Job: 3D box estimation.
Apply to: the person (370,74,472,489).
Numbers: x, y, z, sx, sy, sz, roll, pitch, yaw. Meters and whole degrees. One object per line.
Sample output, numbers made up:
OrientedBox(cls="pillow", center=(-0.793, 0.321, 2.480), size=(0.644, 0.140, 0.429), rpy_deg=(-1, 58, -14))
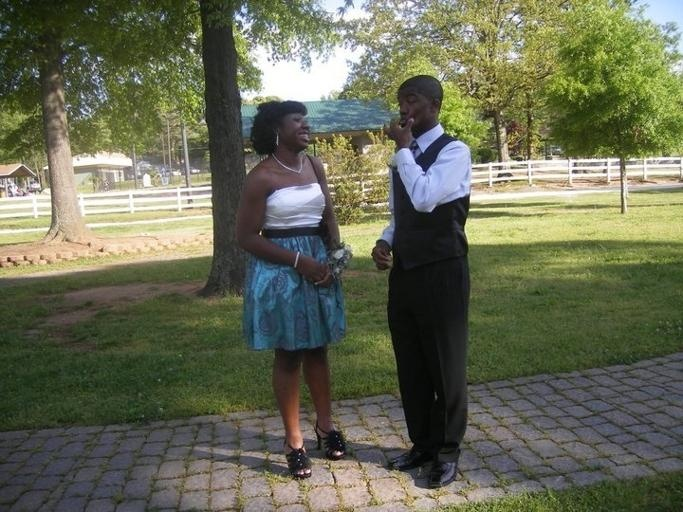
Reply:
OrientedBox(cls="person", center=(0.630, 0.189, 4.040), size=(0.640, 2.974, 0.624), rpy_deg=(-1, 12, 13))

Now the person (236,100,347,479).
OrientedBox(cls="person", center=(-0.367, 0.220, 4.290), size=(0.848, 2.842, 0.790), rpy_deg=(-6, 12, -14))

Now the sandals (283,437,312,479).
OrientedBox(cls="sandals", center=(-0.333, 1.570, 4.230), size=(0.189, 0.226, 0.203), rpy_deg=(-5, 11, -7))

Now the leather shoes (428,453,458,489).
OrientedBox(cls="leather shoes", center=(0.759, 1.593, 4.066), size=(0.131, 0.144, 0.328), rpy_deg=(-2, -3, 25))

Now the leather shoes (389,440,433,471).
OrientedBox(cls="leather shoes", center=(0.541, 1.561, 4.309), size=(0.409, 0.169, 0.152), rpy_deg=(-5, 8, -20))

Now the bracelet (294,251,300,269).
OrientedBox(cls="bracelet", center=(-0.340, 0.022, 4.157), size=(0.022, 0.087, 0.089), rpy_deg=(9, 24, 1))
